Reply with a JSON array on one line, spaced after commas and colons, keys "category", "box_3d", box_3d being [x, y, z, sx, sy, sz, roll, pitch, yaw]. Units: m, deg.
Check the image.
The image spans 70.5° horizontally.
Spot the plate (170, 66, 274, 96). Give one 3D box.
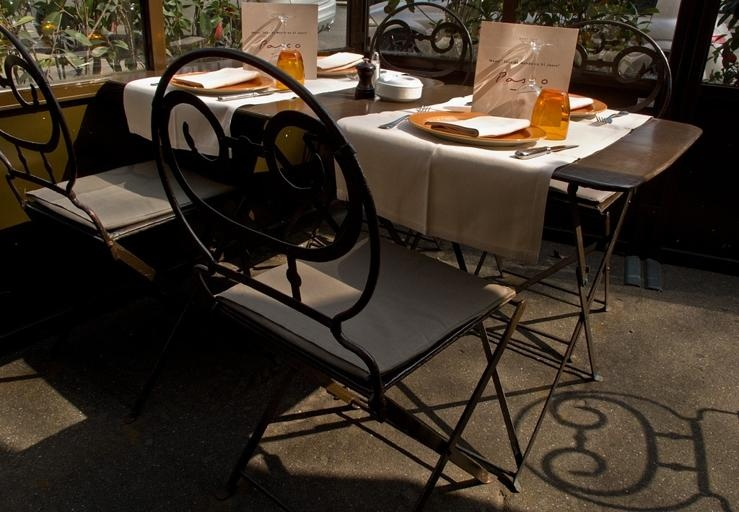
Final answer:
[{"category": "plate", "box_3d": [-0.552, -0.664, 1.990, 0.209, 0.033, 0.224, -16, 36, -35]}]

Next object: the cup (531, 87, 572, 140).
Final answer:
[{"category": "cup", "box_3d": [0.584, -0.487, 1.781, 0.118, 0.178, 0.178, 0, 28, 2]}]

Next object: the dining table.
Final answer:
[{"category": "dining table", "box_3d": [-0.028, 0.066, 1.654, 1.382, 1.342, 0.767, 11, 29, 15]}]
